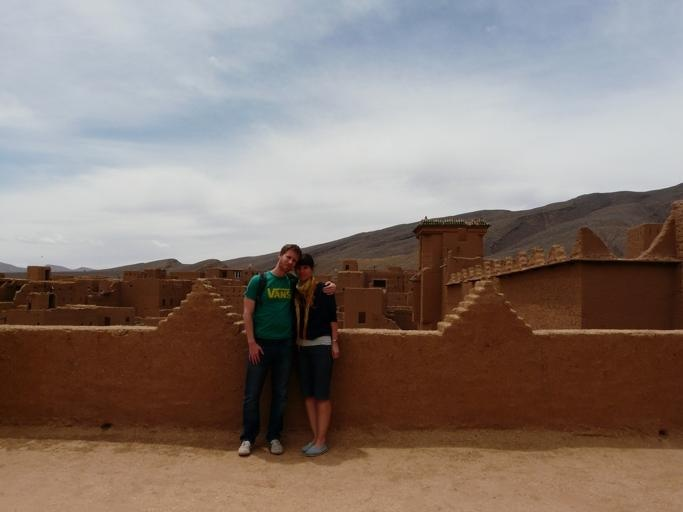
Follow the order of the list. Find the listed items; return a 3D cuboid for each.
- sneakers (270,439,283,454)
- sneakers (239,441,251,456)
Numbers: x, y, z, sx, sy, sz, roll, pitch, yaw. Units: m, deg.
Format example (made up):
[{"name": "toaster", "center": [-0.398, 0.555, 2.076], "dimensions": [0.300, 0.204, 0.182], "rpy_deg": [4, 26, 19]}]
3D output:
[{"name": "sneakers", "center": [-0.801, 2.336, 7.473], "dimensions": [0.164, 0.117, 0.144], "rpy_deg": [-1, -1, -6]}, {"name": "sneakers", "center": [-1.186, 2.342, 7.433], "dimensions": [0.169, 0.119, 0.141], "rpy_deg": [-1, -1, -12]}]
